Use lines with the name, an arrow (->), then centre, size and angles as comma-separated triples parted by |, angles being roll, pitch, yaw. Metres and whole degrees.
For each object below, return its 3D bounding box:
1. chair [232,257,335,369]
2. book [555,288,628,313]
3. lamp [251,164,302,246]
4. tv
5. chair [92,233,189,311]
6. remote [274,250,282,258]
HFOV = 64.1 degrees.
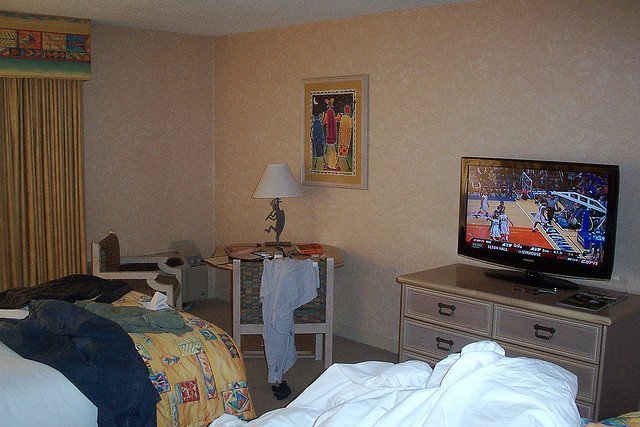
chair -> -0.324, 0.757, 5.011 | 1.125, 1.329, 0.890 | -2, 13, -9
book -> 1.965, 0.621, 3.693 | 0.529, 0.062, 0.253 | -4, 8, -35
lamp -> -0.454, -0.091, 5.318 | 0.484, 0.838, 0.690 | 0, 8, -6
tv -> 1.713, 0.065, 3.922 | 1.056, 0.764, 0.270 | 9, 5, 37
chair -> -1.775, 0.650, 4.985 | 0.743, 0.763, 0.631 | 5, 10, -5
remote -> -0.390, 0.385, 4.746 | 0.095, 0.044, 0.085 | 3, 5, -8
